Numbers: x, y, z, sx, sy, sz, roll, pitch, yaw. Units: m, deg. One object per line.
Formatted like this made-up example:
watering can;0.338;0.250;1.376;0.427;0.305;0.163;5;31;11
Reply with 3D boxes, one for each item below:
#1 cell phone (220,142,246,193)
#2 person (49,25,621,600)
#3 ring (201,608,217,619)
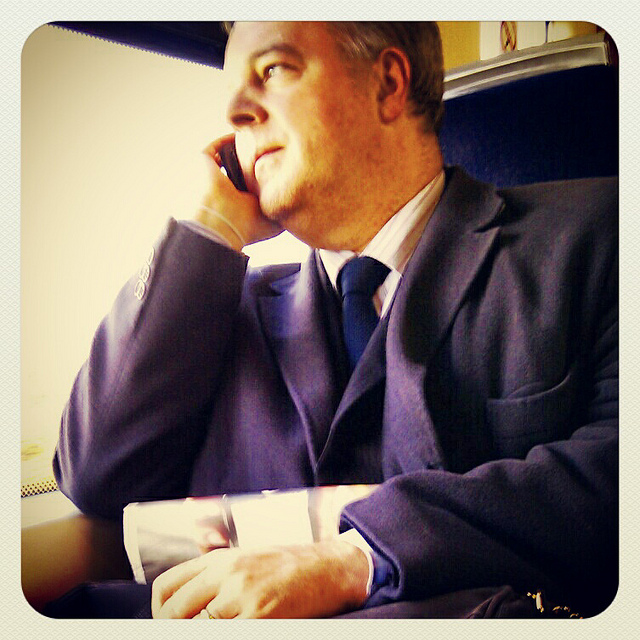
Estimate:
cell phone;-0.199;-0.343;1.636;0.059;0.104;0.032;-2;-2;17
person;0.058;-0.002;1.601;1.220;1.350;0.304;-5;9;7
ring;-0.241;0.638;1.576;0.012;0.020;0.041;2;11;-39
